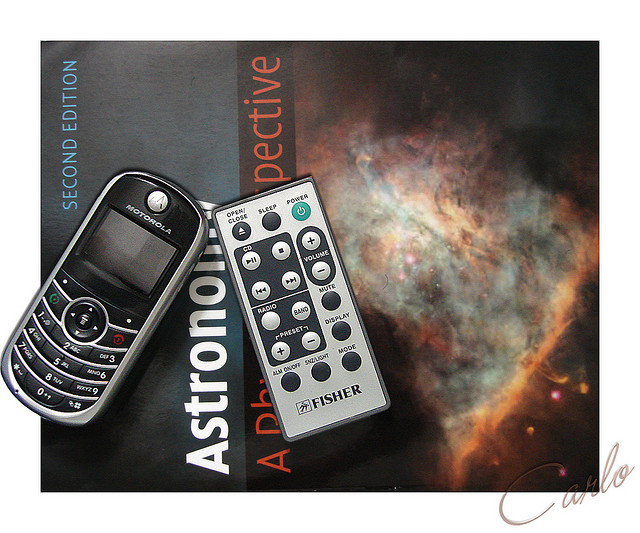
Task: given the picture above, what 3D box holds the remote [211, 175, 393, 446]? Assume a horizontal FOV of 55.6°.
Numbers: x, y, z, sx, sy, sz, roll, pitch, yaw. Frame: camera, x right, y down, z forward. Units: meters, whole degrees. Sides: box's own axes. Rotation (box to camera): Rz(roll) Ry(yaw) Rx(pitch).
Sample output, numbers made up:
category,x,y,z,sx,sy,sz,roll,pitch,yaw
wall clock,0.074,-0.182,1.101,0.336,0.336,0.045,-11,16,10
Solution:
category,x,y,z,sx,sy,sz,roll,pitch,yaw
remote,-0.023,0.059,0.862,0.180,0.083,0.382,-21,91,0
